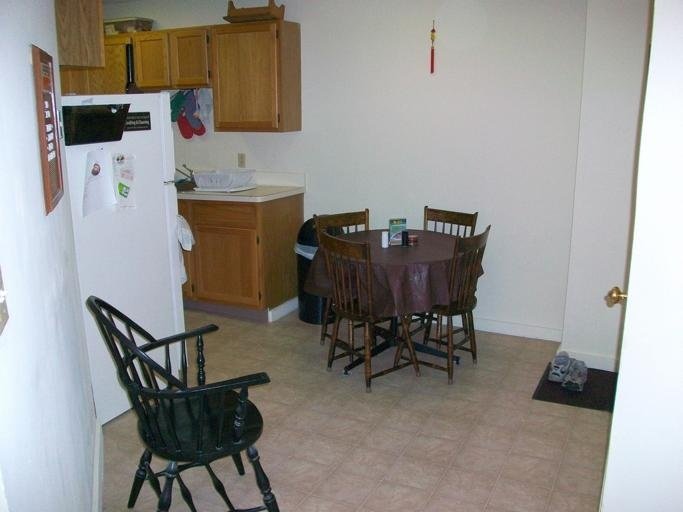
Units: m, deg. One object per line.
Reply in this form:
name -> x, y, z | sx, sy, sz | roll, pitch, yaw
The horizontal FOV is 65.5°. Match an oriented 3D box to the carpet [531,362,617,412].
carpet -> 1.583, 0.866, 3.618 | 0.483, 0.050, 0.691 | 5, 15, 25

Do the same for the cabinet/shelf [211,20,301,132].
cabinet/shelf -> -0.771, -1.627, 4.866 | 0.757, 0.950, 0.489 | 8, 15, 28

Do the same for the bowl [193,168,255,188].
bowl -> -1.051, -0.690, 4.775 | 0.514, 0.155, 0.284 | -5, 14, -15

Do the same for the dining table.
dining table -> 0.389, 0.179, 3.810 | 0.908, 0.738, 0.933 | -6, 10, -23

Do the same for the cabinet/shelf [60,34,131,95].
cabinet/shelf -> -2.408, -1.871, 5.153 | 0.804, 0.538, 0.294 | 3, 14, 19
